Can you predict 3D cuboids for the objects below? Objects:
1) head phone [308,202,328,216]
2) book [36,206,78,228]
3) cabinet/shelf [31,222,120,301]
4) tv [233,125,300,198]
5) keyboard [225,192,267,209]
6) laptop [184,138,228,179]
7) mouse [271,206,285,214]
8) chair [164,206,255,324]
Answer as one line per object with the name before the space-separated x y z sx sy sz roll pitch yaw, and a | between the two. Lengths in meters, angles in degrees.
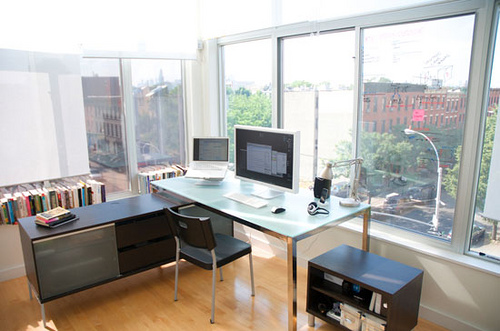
head phone | 0.652 0.418 3.493 0.157 0.078 0.122 10 -10 6
book | -1.924 0.512 3.671 0.245 0.080 0.231 9 14 30
cabinet/shelf | -1.828 0.956 3.760 0.821 0.595 0.470 -12 1 -38
tv | 0.174 -0.035 3.806 0.721 0.530 0.116 12 19 40
keyboard | -0.026 0.348 3.720 0.337 0.026 0.134 12 22 40
laptop | -0.408 -0.153 4.409 0.468 0.318 0.386 2 -4 14
mouse | 0.275 0.423 3.495 0.136 0.045 0.088 0 12 3
chair | -0.220 0.969 3.680 0.778 1.057 0.638 -8 -1 -26
